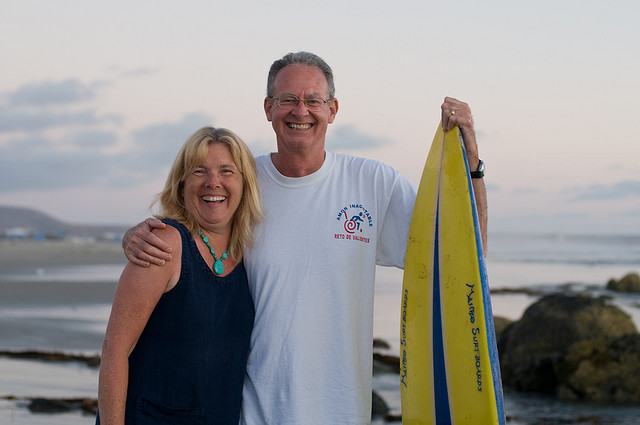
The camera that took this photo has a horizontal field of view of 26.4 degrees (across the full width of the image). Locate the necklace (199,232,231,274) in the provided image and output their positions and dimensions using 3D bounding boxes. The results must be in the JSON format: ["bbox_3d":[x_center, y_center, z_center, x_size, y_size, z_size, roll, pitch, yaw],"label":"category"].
[{"bbox_3d":[-2.238,0.835,28.469,0.795,0.835,0.154,2,-3,-18],"label":"necklace"}]
